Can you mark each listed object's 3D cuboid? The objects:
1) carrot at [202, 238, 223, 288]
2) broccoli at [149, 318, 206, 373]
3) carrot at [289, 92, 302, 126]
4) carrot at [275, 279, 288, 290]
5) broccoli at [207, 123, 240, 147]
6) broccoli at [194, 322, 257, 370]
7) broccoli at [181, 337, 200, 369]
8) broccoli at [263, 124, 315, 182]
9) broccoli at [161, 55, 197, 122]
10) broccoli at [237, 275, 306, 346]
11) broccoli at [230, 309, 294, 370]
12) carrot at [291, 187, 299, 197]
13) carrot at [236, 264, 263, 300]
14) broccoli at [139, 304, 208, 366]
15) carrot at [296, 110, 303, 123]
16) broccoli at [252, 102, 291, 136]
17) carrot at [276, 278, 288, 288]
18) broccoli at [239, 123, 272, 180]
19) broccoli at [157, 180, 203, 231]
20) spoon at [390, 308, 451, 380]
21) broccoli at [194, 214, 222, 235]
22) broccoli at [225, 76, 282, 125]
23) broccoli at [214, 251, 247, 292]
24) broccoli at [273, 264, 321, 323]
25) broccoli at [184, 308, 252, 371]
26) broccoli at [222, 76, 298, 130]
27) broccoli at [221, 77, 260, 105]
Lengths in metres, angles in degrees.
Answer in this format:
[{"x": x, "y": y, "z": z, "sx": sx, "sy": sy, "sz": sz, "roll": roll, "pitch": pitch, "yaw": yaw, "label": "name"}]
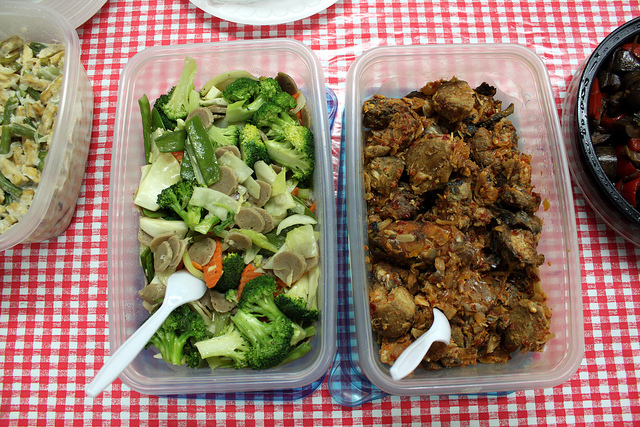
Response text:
[{"x": -0.626, "y": 0.286, "z": 3.450, "sx": 0.053, "sy": 0.397, "sz": 0.127, "roll": 38, "pitch": 53, "yaw": 23, "label": "carrot"}, {"x": -0.850, "y": 0.712, "z": 3.529, "sx": 0.313, "sy": 0.314, "sz": 0.315, "roll": 15, "pitch": 84, "yaw": -33, "label": "broccoli"}, {"x": -0.150, "y": -0.673, "z": 3.654, "sx": 0.085, "sy": 0.043, "sz": 0.128, "roll": -3, "pitch": 84, "yaw": -28, "label": "carrot"}, {"x": -0.229, "y": 0.426, "z": 3.521, "sx": 0.050, "sy": 0.015, "sz": 0.056, "roll": -31, "pitch": 99, "yaw": -7, "label": "carrot"}, {"x": -0.575, "y": -0.476, "z": 3.598, "sx": 0.138, "sy": 0.045, "sz": 0.156, "roll": -10, "pitch": 71, "yaw": -6, "label": "broccoli"}, {"x": -0.567, "y": 0.774, "z": 3.452, "sx": 0.376, "sy": 0.097, "sz": 0.266, "roll": 16, "pitch": 49, "yaw": -29, "label": "broccoli"}, {"x": -0.753, "y": 0.826, "z": 3.488, "sx": 0.134, "sy": 0.074, "sz": 0.169, "roll": -3, "pitch": 91, "yaw": -3, "label": "broccoli"}, {"x": -0.228, "y": -0.427, "z": 3.748, "sx": 0.398, "sy": 0.554, "sz": 0.325, "roll": -8, "pitch": 88, "yaw": -10, "label": "broccoli"}, {"x": -0.838, "y": -0.759, "z": 3.695, "sx": 0.178, "sy": 0.158, "sz": 0.394, "roll": 9, "pitch": 86, "yaw": 6, "label": "broccoli"}, {"x": -0.305, "y": 0.520, "z": 3.533, "sx": 0.143, "sy": 0.197, "sz": 0.342, "roll": -36, "pitch": 119, "yaw": 1, "label": "broccoli"}, {"x": -0.311, "y": 0.712, "z": 3.418, "sx": 0.276, "sy": 0.153, "sz": 0.330, "roll": -42, "pitch": 80, "yaw": -12, "label": "broccoli"}, {"x": -0.145, "y": -0.134, "z": 3.605, "sx": 0.018, "sy": 0.020, "sz": 0.064, "roll": 27, "pitch": 78, "yaw": 35, "label": "carrot"}, {"x": -0.426, "y": 0.407, "z": 3.478, "sx": 0.162, "sy": 0.043, "sz": 0.188, "roll": 16, "pitch": 74, "yaw": -8, "label": "carrot"}, {"x": -0.893, "y": 0.746, "z": 3.512, "sx": 0.368, "sy": 0.300, "sz": 0.316, "roll": -4, "pitch": 84, "yaw": -53, "label": "broccoli"}, {"x": -0.121, "y": -0.605, "z": 3.687, "sx": 0.038, "sy": 0.021, "sz": 0.061, "roll": -4, "pitch": 98, "yaw": -10, "label": "carrot"}, {"x": -0.291, "y": -0.579, "z": 3.662, "sx": 0.193, "sy": 0.193, "sz": 0.199, "roll": 18, "pitch": 83, "yaw": -21, "label": "broccoli"}, {"x": -0.222, "y": 0.411, "z": 3.518, "sx": 0.014, "sy": 0.049, "sz": 0.048, "roll": -31, "pitch": 92, "yaw": -3, "label": "carrot"}, {"x": -0.388, "y": -0.376, "z": 3.651, "sx": 0.180, "sy": 0.079, "sz": 0.321, "roll": -7, "pitch": 90, "yaw": 3, "label": "broccoli"}, {"x": -0.813, "y": -0.079, "z": 3.539, "sx": 0.237, "sy": 0.264, "sz": 0.275, "roll": -27, "pitch": 125, "yaw": -6, "label": "broccoli"}, {"x": 0.549, "y": 0.766, "z": 3.431, "sx": 0.218, "sy": 0.108, "sz": 0.454, "roll": 46, "pitch": 65, "yaw": 3, "label": "spoon"}, {"x": -0.666, "y": 0.089, "z": 3.499, "sx": 0.086, "sy": 0.041, "sz": 0.143, "roll": 20, "pitch": 65, "yaw": -3, "label": "broccoli"}, {"x": -0.398, "y": -0.666, "z": 3.703, "sx": 0.353, "sy": 0.170, "sz": 0.213, "roll": -41, "pitch": 96, "yaw": -7, "label": "broccoli"}, {"x": -0.571, "y": 0.352, "z": 3.451, "sx": 0.110, "sy": 0.286, "sz": 0.241, "roll": -1, "pitch": 89, "yaw": 38, "label": "broccoli"}, {"x": -0.090, "y": 0.463, "z": 3.540, "sx": 0.277, "sy": 0.145, "sz": 0.356, "roll": 20, "pitch": 55, "yaw": -9, "label": "broccoli"}, {"x": -0.570, "y": 0.706, "z": 3.496, "sx": 0.395, "sy": 0.096, "sz": 0.232, "roll": -22, "pitch": 110, "yaw": -32, "label": "broccoli"}, {"x": -0.376, "y": -0.680, "z": 3.591, "sx": 0.357, "sy": 0.135, "sz": 0.338, "roll": 25, "pitch": 82, "yaw": -1, "label": "broccoli"}, {"x": -0.472, "y": -0.748, "z": 3.681, "sx": 0.282, "sy": 0.270, "sz": 0.122, "roll": -4, "pitch": 86, "yaw": -20, "label": "broccoli"}]
